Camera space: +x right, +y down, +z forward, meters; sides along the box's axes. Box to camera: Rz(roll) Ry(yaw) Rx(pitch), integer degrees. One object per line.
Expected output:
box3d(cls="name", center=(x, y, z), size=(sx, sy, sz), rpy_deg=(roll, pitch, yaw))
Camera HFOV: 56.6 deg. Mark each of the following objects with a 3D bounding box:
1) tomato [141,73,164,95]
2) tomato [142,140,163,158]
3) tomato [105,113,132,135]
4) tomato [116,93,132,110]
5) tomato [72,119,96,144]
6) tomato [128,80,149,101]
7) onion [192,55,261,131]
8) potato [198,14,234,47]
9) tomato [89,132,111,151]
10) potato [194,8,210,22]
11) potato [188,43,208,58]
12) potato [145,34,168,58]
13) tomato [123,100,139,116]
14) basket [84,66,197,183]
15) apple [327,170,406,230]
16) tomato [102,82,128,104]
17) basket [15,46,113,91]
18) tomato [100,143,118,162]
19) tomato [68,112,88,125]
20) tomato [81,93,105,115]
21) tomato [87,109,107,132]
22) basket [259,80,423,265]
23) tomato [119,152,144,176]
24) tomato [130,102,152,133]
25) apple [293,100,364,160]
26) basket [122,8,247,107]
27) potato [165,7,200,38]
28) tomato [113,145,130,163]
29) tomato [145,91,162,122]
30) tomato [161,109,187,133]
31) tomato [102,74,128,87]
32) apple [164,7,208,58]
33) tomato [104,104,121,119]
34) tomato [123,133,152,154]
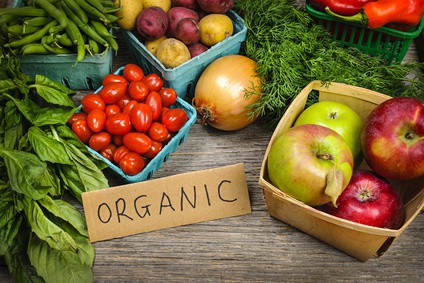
box3d(cls="tomato", center=(-0.195, -0.193, 1.310), size=(0.066, 0.056, 0.058), rpy_deg=(-29, 100, 1))
box3d(cls="tomato", center=(-0.184, 0.026, 1.247), size=(0.062, 0.055, 0.053), rpy_deg=(0, 41, 42))
box3d(cls="tomato", center=(-0.289, -0.053, 1.214), size=(0.067, 0.059, 0.057), rpy_deg=(-2, 33, 25))
box3d(cls="tomato", center=(-0.287, -0.131, 1.284), size=(0.047, 0.039, 0.028), rpy_deg=(-41, 86, -6))
box3d(cls="tomato", center=(-0.408, -0.034, 1.238), size=(0.049, 0.072, 0.052), rpy_deg=(-27, 16, 7))
box3d(cls="tomato", center=(-0.239, -0.162, 1.274), size=(0.071, 0.054, 0.052), rpy_deg=(-14, 53, -7))
box3d(cls="onion", center=(0.051, -0.164, 1.374), size=(0.219, 0.181, 0.194), rpy_deg=(-1, 53, 3))
box3d(cls="potato", center=(0.013, -0.386, 1.398), size=(0.088, 0.099, 0.123), rpy_deg=(9, 76, -35))
box3d(cls="tomato", center=(-0.350, -0.001, 1.223), size=(0.058, 0.050, 0.044), rpy_deg=(-23, 30, -24))
box3d(cls="potato", center=(-0.034, -0.437, 1.405), size=(0.047, 0.040, 0.043), rpy_deg=(-20, 66, 38))
box3d(cls="potato", center=(-0.055, -0.316, 1.368), size=(0.050, 0.029, 0.043), rpy_deg=(0, 74, 4))
box3d(cls="potato", center=(-0.192, -0.331, 1.370), size=(0.058, 0.062, 0.081), rpy_deg=(-1, 91, 1))
box3d(cls="tomato", center=(-0.262, -0.108, 1.284), size=(0.046, 0.036, 0.028), rpy_deg=(-37, 98, -4))
box3d(cls="basket", center=(-0.190, -0.002, 1.234), size=(0.300, 0.106, 0.328), rpy_deg=(34, 71, 10))
box3d(cls="apple", center=(0.438, 0.168, 1.115), size=(0.155, 0.165, 0.167), rpy_deg=(14, 58, 23))
box3d(cls="tomato", center=(-0.314, -0.156, 1.257), size=(0.080, 0.052, 0.047), rpy_deg=(-37, 49, -20))
box3d(cls="basket", center=(-0.503, -0.248, 1.368), size=(0.227, 0.123, 0.168), rpy_deg=(-9, 64, -5))
box3d(cls="tomato", center=(-0.323, 0.038, 1.262), size=(0.044, 0.051, 0.052), rpy_deg=(-15, 85, 11))
box3d(cls="tomato", center=(-0.430, -0.071, 1.259), size=(0.045, 0.036, 0.028), rpy_deg=(-20, 87, 16))
box3d(cls="tomato", center=(-0.378, -0.122, 1.248), size=(0.067, 0.060, 0.061), rpy_deg=(-4, 33, -20))
box3d(cls="tomato", center=(-0.357, -0.067, 1.219), size=(0.046, 0.052, 0.069), rpy_deg=(-17, 63, 24))
box3d(cls="basket", center=(0.448, 0.130, 1.376), size=(0.481, 0.350, 0.548), rpy_deg=(30, 68, 14))
box3d(cls="tomato", center=(-0.241, 0.068, 1.232), size=(0.065, 0.066, 0.067), rpy_deg=(25, 87, 44))
box3d(cls="tomato", center=(-0.221, -0.071, 1.234), size=(0.059, 0.063, 0.090), rpy_deg=(2, 88, -22))
box3d(cls="apple", center=(0.372, -0.062, 1.292), size=(0.169, 0.180, 0.188), rpy_deg=(21, 87, 7))
box3d(cls="basket", center=(-0.094, -0.302, 1.477), size=(0.375, 0.204, 0.347), rpy_deg=(-30, 63, -15))
box3d(cls="potato", center=(-0.109, -0.431, 1.412), size=(0.108, 0.090, 0.086), rpy_deg=(-6, 28, -10))
box3d(cls="tomato", center=(-0.284, 0.034, 1.254), size=(0.051, 0.038, 0.028), rpy_deg=(-43, 101, -7))
box3d(cls="tomato", center=(-0.184, -0.109, 1.268), size=(0.045, 0.048, 0.092), rpy_deg=(-8, 78, 49))
box3d(cls="tomato", center=(-0.121, -0.068, 1.259), size=(0.055, 0.077, 0.065), rpy_deg=(-9, 88, 36))
box3d(cls="tomato", center=(-0.326, -0.206, 1.302), size=(0.054, 0.045, 0.042), rpy_deg=(3, 18, -3))
box3d(cls="apple", center=(-0.078, -0.384, 1.398), size=(0.121, 0.179, 0.100), rpy_deg=(-3, 40, 24))
box3d(cls="tomato", center=(-0.316, -0.102, 1.260), size=(0.045, 0.041, 0.039), rpy_deg=(-23, 29, -20))
box3d(cls="tomato", center=(-0.231, 0.004, 1.214), size=(0.070, 0.053, 0.059), rpy_deg=(20, 91, 11))
